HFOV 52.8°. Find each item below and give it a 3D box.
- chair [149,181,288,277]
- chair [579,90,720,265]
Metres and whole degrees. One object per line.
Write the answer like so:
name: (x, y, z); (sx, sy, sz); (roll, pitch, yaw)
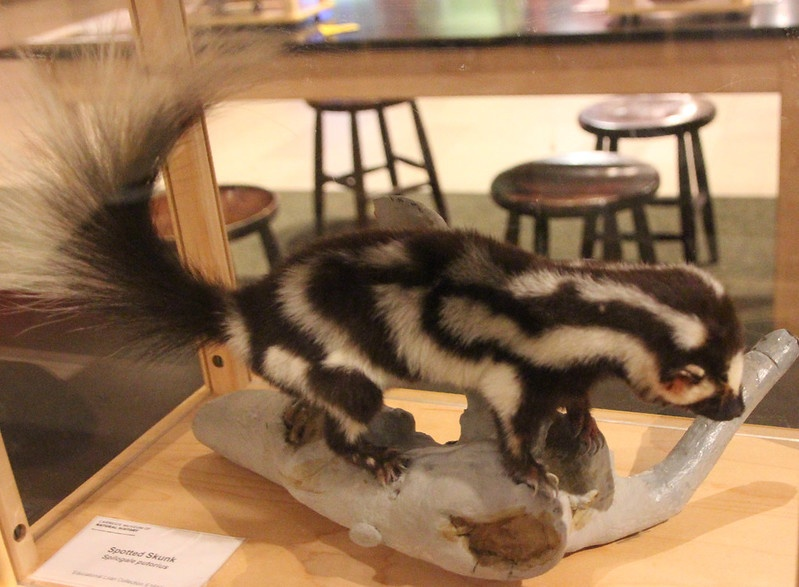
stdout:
chair: (-0.397, -0.202, 2.178); (0.360, 0.327, 0.248); (3, 63, 3)
chair: (0.592, -0.290, 1.905); (0.348, 0.369, 0.270); (-16, 40, 13)
